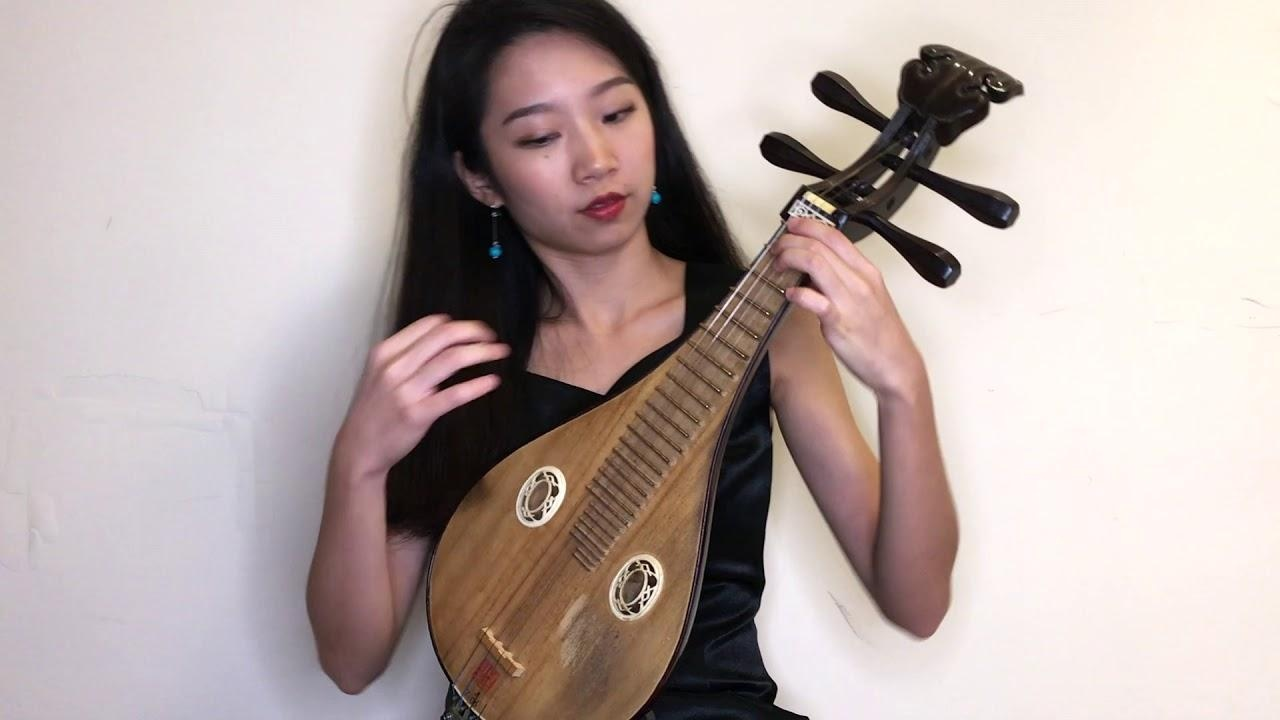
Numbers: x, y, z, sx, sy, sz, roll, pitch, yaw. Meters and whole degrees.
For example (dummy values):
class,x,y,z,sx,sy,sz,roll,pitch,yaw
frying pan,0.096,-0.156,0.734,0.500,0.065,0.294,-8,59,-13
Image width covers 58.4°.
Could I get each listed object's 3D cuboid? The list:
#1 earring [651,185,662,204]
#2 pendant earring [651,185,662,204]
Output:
class,x,y,z,sx,sy,sz,roll,pitch,yaw
earring,0.038,-0.366,2.557,0.016,0.039,0.024,-4,4,11
pendant earring,0.038,-0.366,2.558,0.016,0.039,0.024,-4,4,11
